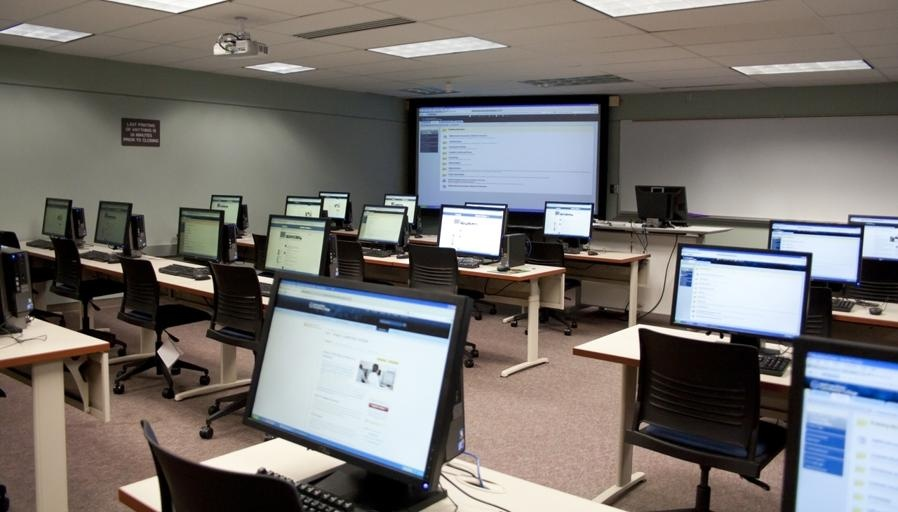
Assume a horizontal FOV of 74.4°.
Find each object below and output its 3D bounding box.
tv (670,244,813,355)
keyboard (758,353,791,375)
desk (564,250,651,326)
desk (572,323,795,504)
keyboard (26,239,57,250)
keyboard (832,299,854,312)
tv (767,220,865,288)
[{"bbox_3d":[1.933,0.297,3.916,0.820,0.532,0.236,5,10,30],"label":"tv"},{"bbox_3d":[2.140,0.715,3.879,0.163,0.043,0.231,6,13,40],"label":"keyboard"},{"bbox_3d":[2.175,0.422,8.000,1.024,0.682,0.556,7,11,43],"label":"desk"},{"bbox_3d":[1.617,1.098,3.974,1.558,0.977,0.852,5,6,37],"label":"desk"},{"bbox_3d":[-4.957,-0.135,7.238,0.337,0.068,0.226,10,13,24],"label":"keyboard"},{"bbox_3d":[3.357,0.422,5.031,0.147,0.034,0.157,5,15,25],"label":"keyboard"},{"bbox_3d":[2.927,-0.014,4.702,0.617,0.389,0.157,4,7,39],"label":"tv"}]
